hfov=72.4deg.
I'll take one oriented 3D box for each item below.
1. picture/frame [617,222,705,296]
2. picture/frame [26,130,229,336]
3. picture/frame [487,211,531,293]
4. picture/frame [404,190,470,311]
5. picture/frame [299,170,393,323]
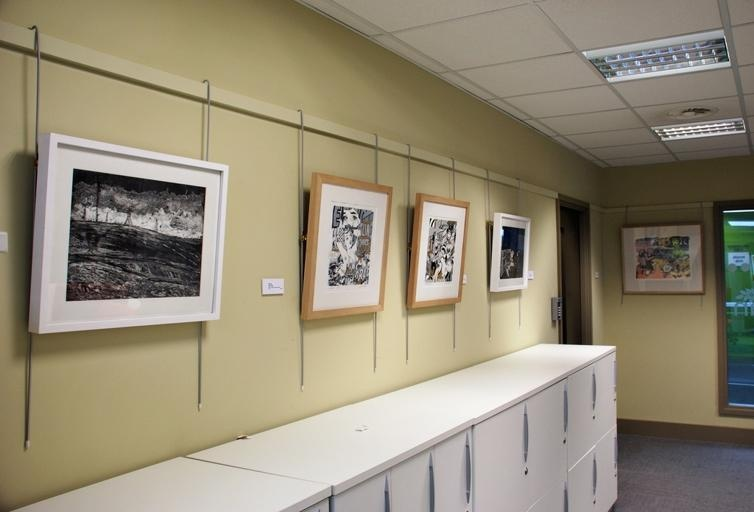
[{"bbox_3d":[3.804,0.046,6.808,0.925,1.017,0.040,0,-3,36],"label":"picture/frame"},{"bbox_3d":[-1.079,-0.095,2.175,0.861,0.855,0.089,4,-1,-43],"label":"picture/frame"},{"bbox_3d":[1.194,-0.041,4.721,0.077,0.670,0.745,1,2,31],"label":"picture/frame"},{"bbox_3d":[0.423,-0.045,3.793,0.055,0.872,0.819,3,-4,32],"label":"picture/frame"},{"bbox_3d":[-0.203,-0.059,3.051,0.078,1.108,0.890,2,0,36],"label":"picture/frame"}]
